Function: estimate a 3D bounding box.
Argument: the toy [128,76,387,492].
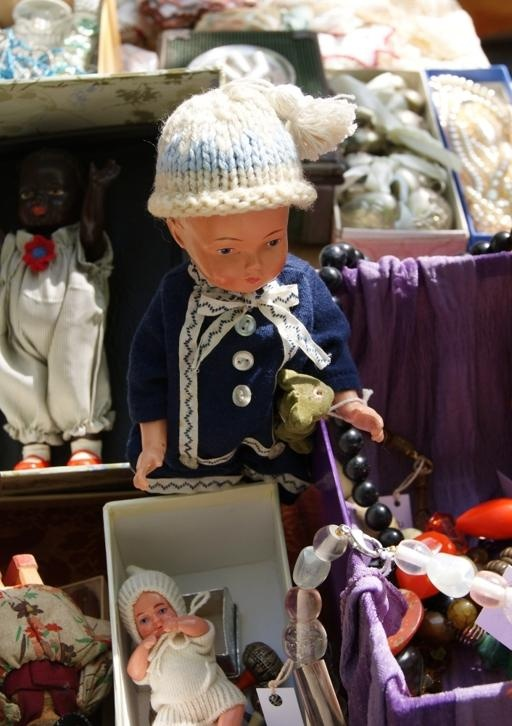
[{"bbox_3d":[-0.022,-0.038,0.936,0.378,0.670,0.269,-11,22,-11],"label":"toy"}]
